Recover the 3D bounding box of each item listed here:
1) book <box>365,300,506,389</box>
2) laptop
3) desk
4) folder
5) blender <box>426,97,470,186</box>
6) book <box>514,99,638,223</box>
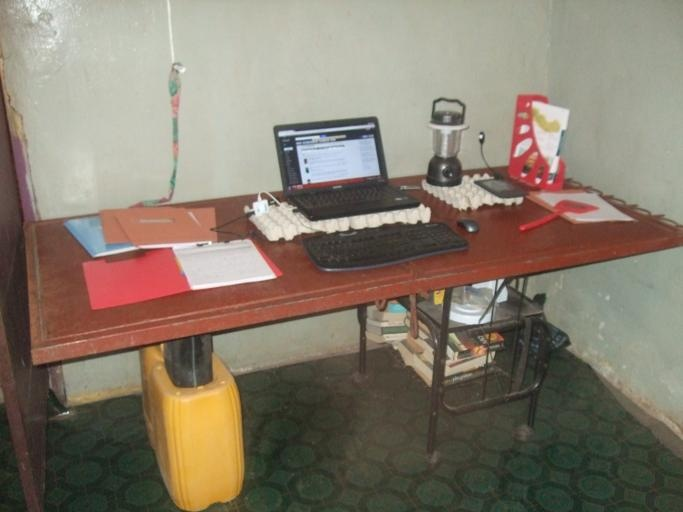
[{"bbox_3d":[0.387,0.322,2.283,0.372,0.294,0.375,-9,29,-22],"label":"book"},{"bbox_3d":[0.024,-0.407,2.050,0.482,0.301,0.434,-12,36,-21],"label":"laptop"},{"bbox_3d":[-0.079,0.299,2.110,2.113,0.912,0.727,-11,26,-14],"label":"desk"},{"bbox_3d":[-0.489,0.044,1.752,0.574,0.055,0.258,-11,27,-15],"label":"folder"},{"bbox_3d":[0.423,-0.464,2.303,0.157,0.355,0.158,17,28,33],"label":"blender"},{"bbox_3d":[0.942,-0.379,2.301,0.255,0.300,0.432,-9,33,-11],"label":"book"}]
